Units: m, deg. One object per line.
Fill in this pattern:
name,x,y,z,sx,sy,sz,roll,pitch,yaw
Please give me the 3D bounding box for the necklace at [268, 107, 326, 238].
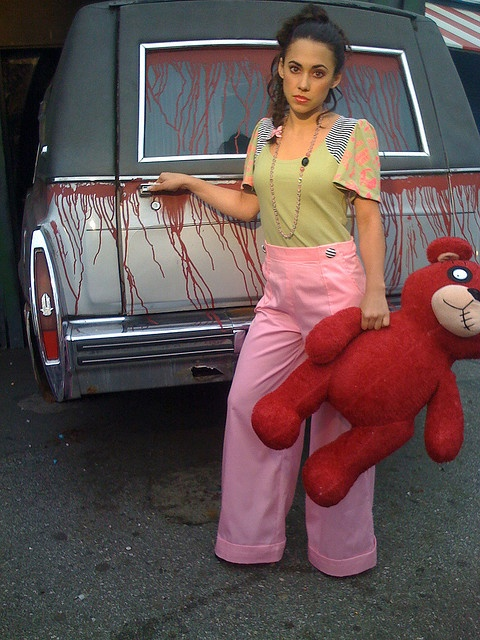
necklace,0.147,-0.376,1.414,0.140,0.328,0.086,1,10,7
